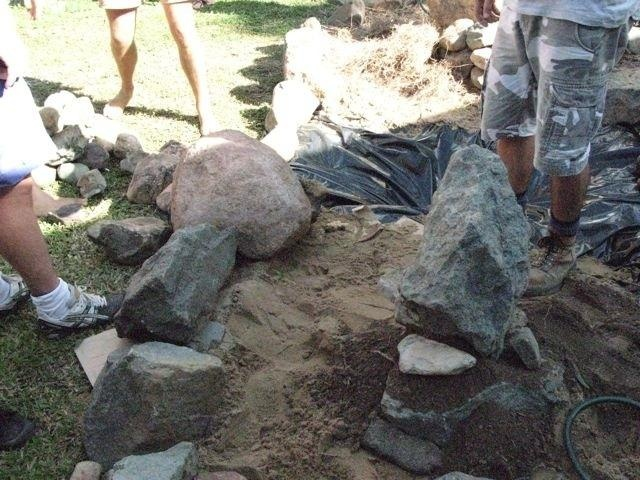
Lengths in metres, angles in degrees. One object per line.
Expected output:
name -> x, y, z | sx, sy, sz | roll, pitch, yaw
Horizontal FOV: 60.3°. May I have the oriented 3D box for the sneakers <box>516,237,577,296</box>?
sneakers -> 1.438, 0.127, 3.553 | 0.204, 0.280, 0.580 | 20, 45, 42
